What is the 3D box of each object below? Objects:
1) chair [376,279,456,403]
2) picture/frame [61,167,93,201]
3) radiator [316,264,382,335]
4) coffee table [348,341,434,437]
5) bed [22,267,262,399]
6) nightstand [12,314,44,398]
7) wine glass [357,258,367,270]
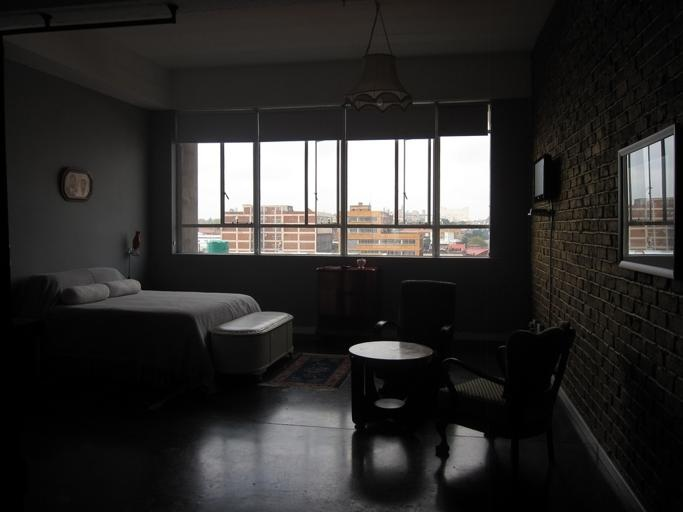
[{"bbox_3d":[0.877,0.801,5.505,0.873,1.409,1.086,0,-5,25],"label":"chair"},{"bbox_3d":[-3.626,-0.980,7.106,0.060,0.361,0.480,2,2,17],"label":"picture/frame"},{"bbox_3d":[0.080,0.673,7.950,0.942,1.045,0.381,1,7,4],"label":"radiator"},{"bbox_3d":[0.456,1.187,4.749,0.651,0.666,0.733,0,-2,12],"label":"coffee table"},{"bbox_3d":[-2.458,0.831,6.035,1.912,0.830,1.459,1,3,12],"label":"bed"},{"bbox_3d":[-3.326,1.069,5.557,0.265,0.672,0.718,-4,8,-31],"label":"nightstand"},{"bbox_3d":[0.321,0.128,7.941,0.130,0.154,0.133,11,11,42],"label":"wine glass"}]
